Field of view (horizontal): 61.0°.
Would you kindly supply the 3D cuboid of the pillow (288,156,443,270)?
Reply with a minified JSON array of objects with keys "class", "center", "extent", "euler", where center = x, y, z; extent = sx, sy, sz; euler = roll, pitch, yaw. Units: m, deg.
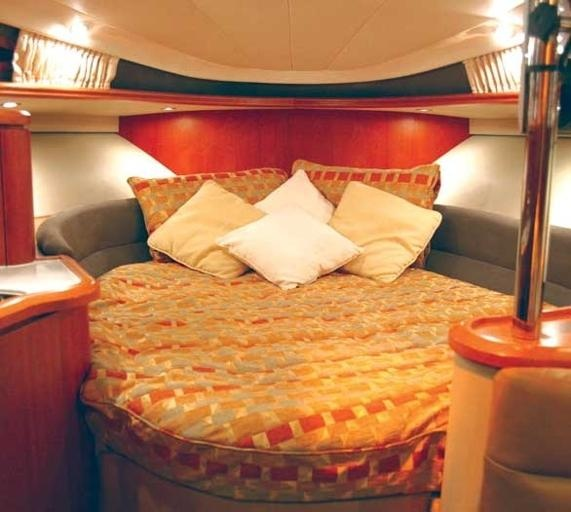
[{"class":"pillow","center":[0.506,-0.334,2.706],"extent":[0.774,0.196,0.676],"euler":[14,46,24]}]

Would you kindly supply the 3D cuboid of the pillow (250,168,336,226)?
[{"class":"pillow","center":[0.050,-0.310,2.739],"extent":[0.339,0.096,0.327],"euler":[40,65,13]}]

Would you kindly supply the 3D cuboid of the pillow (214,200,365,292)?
[{"class":"pillow","center":[0.026,-0.035,2.230],"extent":[0.474,0.121,0.439],"euler":[-23,46,-40]}]

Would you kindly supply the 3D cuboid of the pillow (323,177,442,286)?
[{"class":"pillow","center":[0.497,-0.109,2.460],"extent":[0.548,0.153,0.533],"euler":[26,62,35]}]
